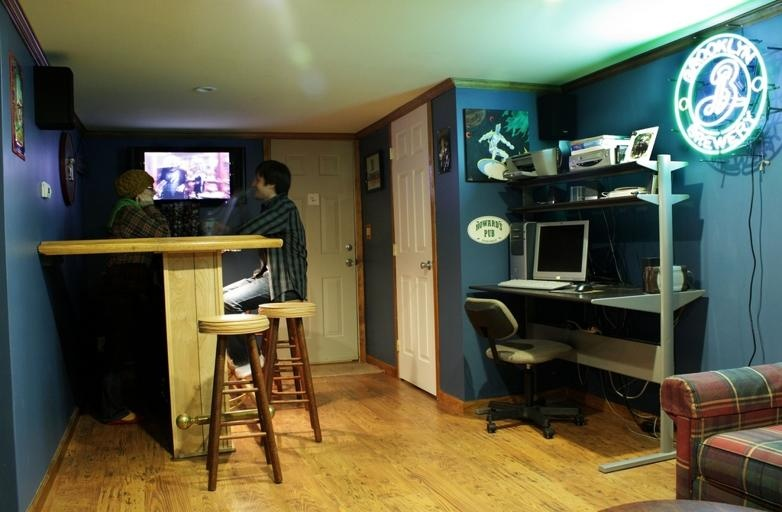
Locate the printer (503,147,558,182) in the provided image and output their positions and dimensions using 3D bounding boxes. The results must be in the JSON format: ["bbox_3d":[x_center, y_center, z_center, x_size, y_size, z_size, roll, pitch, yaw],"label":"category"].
[{"bbox_3d":[1.146,-0.755,4.726,0.365,0.166,0.260,-4,3,-28],"label":"printer"}]

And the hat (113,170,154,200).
[{"bbox_3d":[-2.228,-0.611,5.004,0.277,0.210,0.265,-32,21,-25],"label":"hat"}]

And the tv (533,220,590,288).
[{"bbox_3d":[1.422,-0.005,4.738,0.049,0.590,0.558,8,-2,-40],"label":"tv"}]

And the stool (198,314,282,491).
[{"bbox_3d":[-1.049,0.945,3.972,0.497,1.141,0.597,-4,8,-13],"label":"stool"}]

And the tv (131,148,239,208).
[{"bbox_3d":[-2.291,-0.858,6.208,0.939,0.481,0.094,0,0,-12],"label":"tv"}]

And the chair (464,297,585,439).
[{"bbox_3d":[0.814,0.847,4.964,1.124,1.146,1.026,-1,2,-18],"label":"chair"}]

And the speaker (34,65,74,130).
[{"bbox_3d":[-2.378,-1.118,4.012,0.263,0.433,0.174,-4,8,-18],"label":"speaker"}]

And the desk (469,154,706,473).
[{"bbox_3d":[1.652,0.329,4.377,1.028,2.133,1.198,-7,10,-33],"label":"desk"}]

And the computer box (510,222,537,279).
[{"bbox_3d":[1.203,-0.030,5.045,0.321,0.509,0.186,-3,2,-34],"label":"computer box"}]
